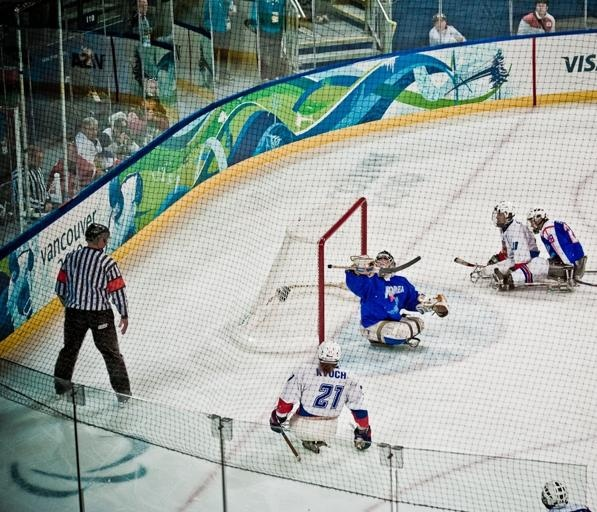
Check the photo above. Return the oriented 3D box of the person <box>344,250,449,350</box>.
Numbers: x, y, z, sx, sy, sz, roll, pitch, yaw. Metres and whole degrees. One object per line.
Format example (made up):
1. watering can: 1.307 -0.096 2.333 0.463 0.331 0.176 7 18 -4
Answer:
1. person: 0.873 0.442 8.147 1.050 1.015 0.653 0 -6 -33

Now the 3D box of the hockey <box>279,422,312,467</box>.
1. hockey: -0.020 1.248 5.521 0.091 0.284 0.058 -34 -20 4

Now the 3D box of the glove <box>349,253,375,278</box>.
1. glove: 0.609 0.086 7.941 0.231 0.202 0.182 0 11 9

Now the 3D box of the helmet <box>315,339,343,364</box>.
1. helmet: 0.230 0.737 6.470 0.132 0.177 0.181 3 4 4

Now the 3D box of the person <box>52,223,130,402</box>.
1. person: -1.800 0.480 7.164 0.653 1.497 0.335 -2 11 1

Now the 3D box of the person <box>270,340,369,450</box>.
1. person: 0.166 1.126 6.611 0.487 0.747 0.417 10 45 2

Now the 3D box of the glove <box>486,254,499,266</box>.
1. glove: 2.230 0.041 9.634 0.108 0.078 0.036 -21 -19 -37

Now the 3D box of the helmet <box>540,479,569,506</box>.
1. helmet: 1.585 1.483 5.204 0.121 0.164 0.165 1 20 8

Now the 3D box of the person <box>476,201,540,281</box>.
1. person: 2.402 -0.158 9.650 0.709 1.069 0.909 -5 13 -1

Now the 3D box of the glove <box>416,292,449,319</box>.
1. glove: 1.284 0.483 8.161 0.196 0.169 0.442 -15 17 -37

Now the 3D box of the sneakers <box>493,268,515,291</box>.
1. sneakers: 2.274 0.260 9.261 0.227 0.254 0.121 1 11 15

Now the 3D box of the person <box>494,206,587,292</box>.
1. person: 2.728 -0.088 9.408 0.968 0.813 0.730 -8 0 38
